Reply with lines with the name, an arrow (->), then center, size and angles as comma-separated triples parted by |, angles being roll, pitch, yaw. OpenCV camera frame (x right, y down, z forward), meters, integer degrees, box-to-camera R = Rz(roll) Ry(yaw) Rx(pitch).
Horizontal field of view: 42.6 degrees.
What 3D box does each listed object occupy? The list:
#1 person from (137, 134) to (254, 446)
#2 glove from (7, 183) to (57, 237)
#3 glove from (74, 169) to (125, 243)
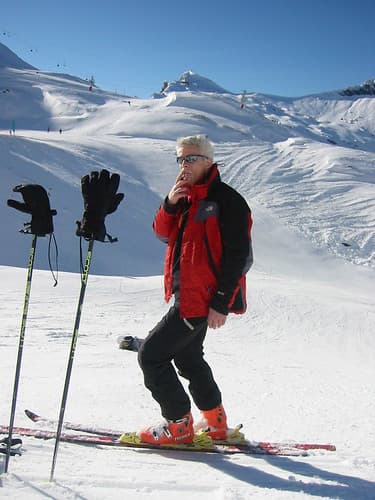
person -> 0.127, 0.321, 3.506 | 0.861, 2.286, 0.622 | 9, 7, 1
glove -> -1.025, -0.236, 3.227 | 0.401, 0.409, 0.328 | 3, -7, -21
glove -> -0.577, -0.282, 3.115 | 0.272, 0.473, 0.330 | 8, 7, -5
